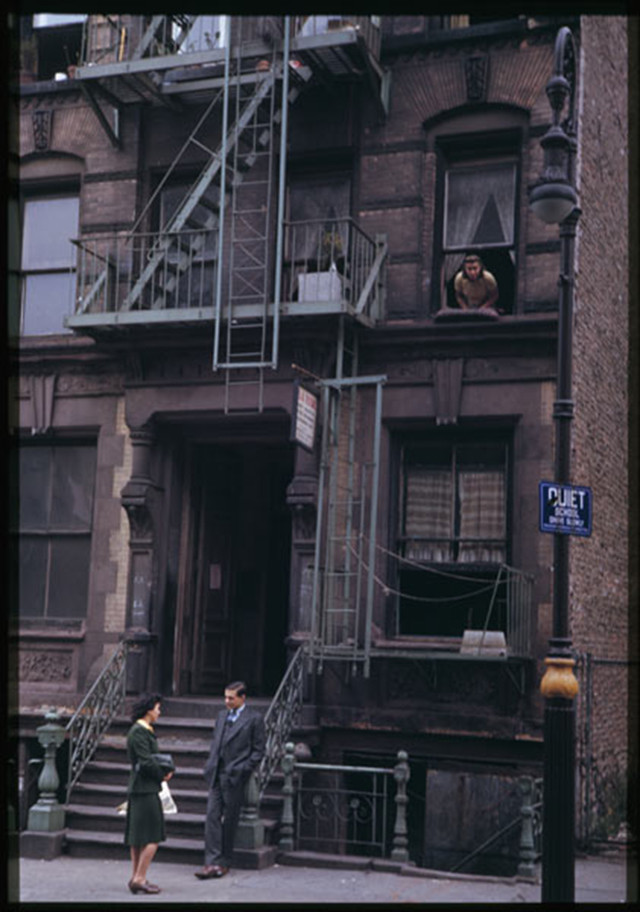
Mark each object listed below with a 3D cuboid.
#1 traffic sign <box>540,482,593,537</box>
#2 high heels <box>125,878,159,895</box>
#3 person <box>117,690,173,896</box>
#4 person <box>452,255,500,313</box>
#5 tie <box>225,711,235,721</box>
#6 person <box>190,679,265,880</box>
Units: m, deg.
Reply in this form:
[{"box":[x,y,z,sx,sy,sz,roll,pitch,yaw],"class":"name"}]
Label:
[{"box":[1.965,0.412,14.517,0.216,0.426,0.631,-3,-12,38],"class":"traffic sign"},{"box":[-1.485,3.599,15.136,0.203,0.125,0.128,-1,-6,-6],"class":"high heels"},{"box":[-1.474,2.859,15.372,0.389,1.663,0.564,3,-7,-5],"class":"person"},{"box":[1.675,-1.816,19.478,0.388,0.829,0.478,1,33,14],"class":"person"},{"box":[-0.813,2.364,16.539,0.046,0.087,0.020,-11,-37,17],"class":"tie"},{"box":[-0.852,2.905,16.309,0.707,1.748,0.449,9,-10,-40],"class":"person"}]
